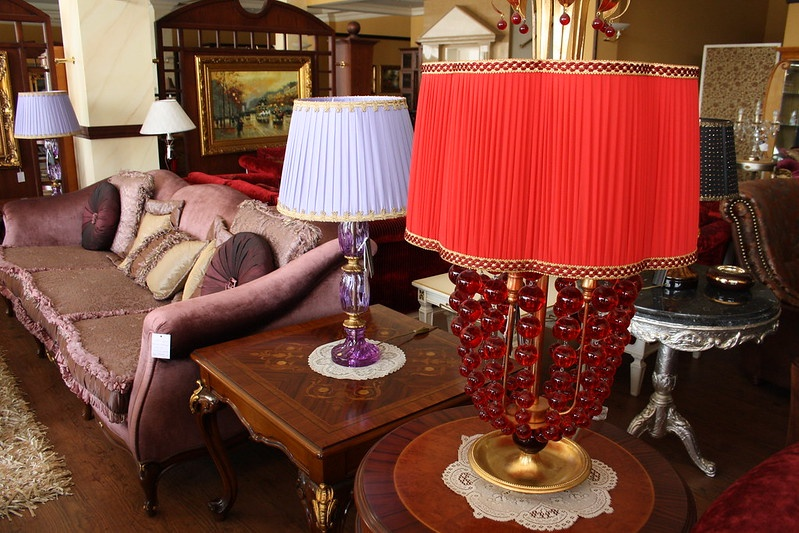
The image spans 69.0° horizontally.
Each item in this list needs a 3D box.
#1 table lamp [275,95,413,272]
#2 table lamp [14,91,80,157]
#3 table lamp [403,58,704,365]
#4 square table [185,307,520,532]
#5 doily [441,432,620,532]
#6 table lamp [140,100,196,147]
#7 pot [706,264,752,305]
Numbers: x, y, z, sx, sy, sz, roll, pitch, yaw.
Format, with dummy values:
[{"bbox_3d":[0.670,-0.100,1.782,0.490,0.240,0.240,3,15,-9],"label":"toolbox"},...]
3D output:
[{"bbox_3d":[-0.190,-0.352,2.054,0.465,0.421,0.475,-15,26,-42],"label":"table lamp"},{"bbox_3d":[-2.894,-1.211,4.784,0.487,0.402,0.472,2,20,12],"label":"table lamp"},{"bbox_3d":[0.326,-0.183,1.327,0.542,0.308,0.534,14,19,39],"label":"table lamp"},{"bbox_3d":[-0.240,0.424,2.201,0.894,0.618,0.887,-16,24,-41],"label":"square table"},{"bbox_3d":[0.335,0.571,1.521,0.442,0.071,0.262,3,18,14],"label":"doily"},{"bbox_3d":[-2.168,-1.289,5.313,0.402,0.259,0.405,18,33,38],"label":"table lamp"},{"bbox_3d":[1.522,0.083,2.710,0.193,0.074,0.184,-1,16,0],"label":"pot"}]
